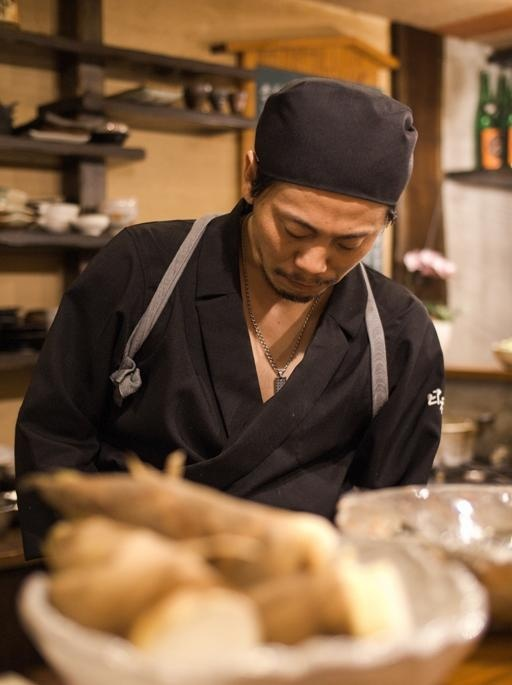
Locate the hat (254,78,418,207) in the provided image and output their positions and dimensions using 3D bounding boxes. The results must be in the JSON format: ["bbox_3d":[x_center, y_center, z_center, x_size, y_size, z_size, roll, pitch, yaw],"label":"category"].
[{"bbox_3d":[0.091,-0.288,0.942,0.240,0.119,0.207,0,20,-19],"label":"hat"}]

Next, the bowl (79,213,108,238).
[{"bbox_3d":[-0.483,-0.344,2.014,0.082,0.045,0.080,-1,4,0],"label":"bowl"}]
